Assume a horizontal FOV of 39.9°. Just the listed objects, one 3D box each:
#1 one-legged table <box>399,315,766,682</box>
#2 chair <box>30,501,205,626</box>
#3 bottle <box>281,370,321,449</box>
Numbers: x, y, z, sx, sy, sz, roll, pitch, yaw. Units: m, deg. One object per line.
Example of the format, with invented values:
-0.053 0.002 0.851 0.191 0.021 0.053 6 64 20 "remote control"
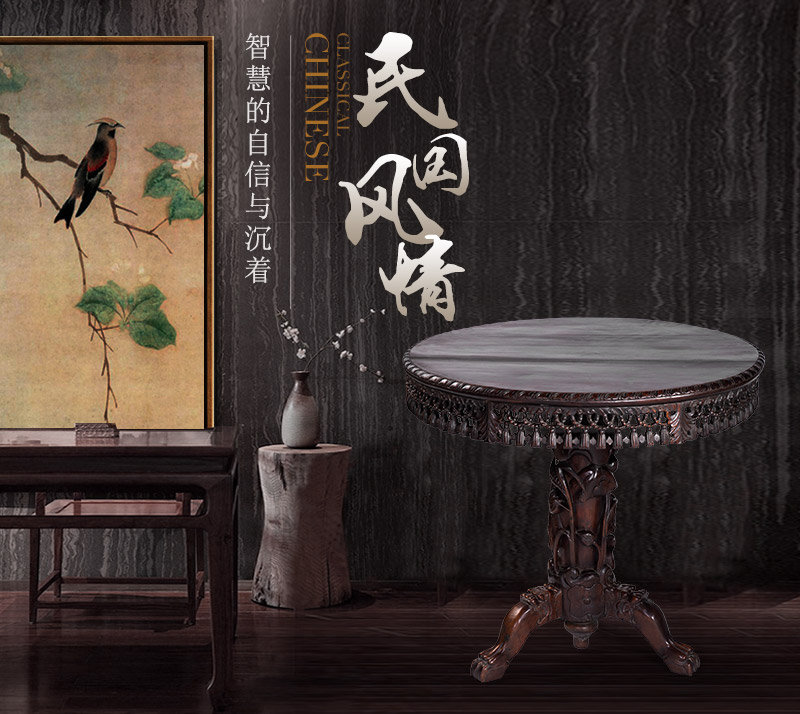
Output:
0.602 0.536 3.827 1.491 0.979 1.363 2 -4 7 "one-legged table"
-1.102 0.799 4.226 0.714 0.344 0.346 1 7 0 "chair"
-0.388 0.211 4.315 0.155 0.303 0.125 -1 -3 -5 "bottle"
